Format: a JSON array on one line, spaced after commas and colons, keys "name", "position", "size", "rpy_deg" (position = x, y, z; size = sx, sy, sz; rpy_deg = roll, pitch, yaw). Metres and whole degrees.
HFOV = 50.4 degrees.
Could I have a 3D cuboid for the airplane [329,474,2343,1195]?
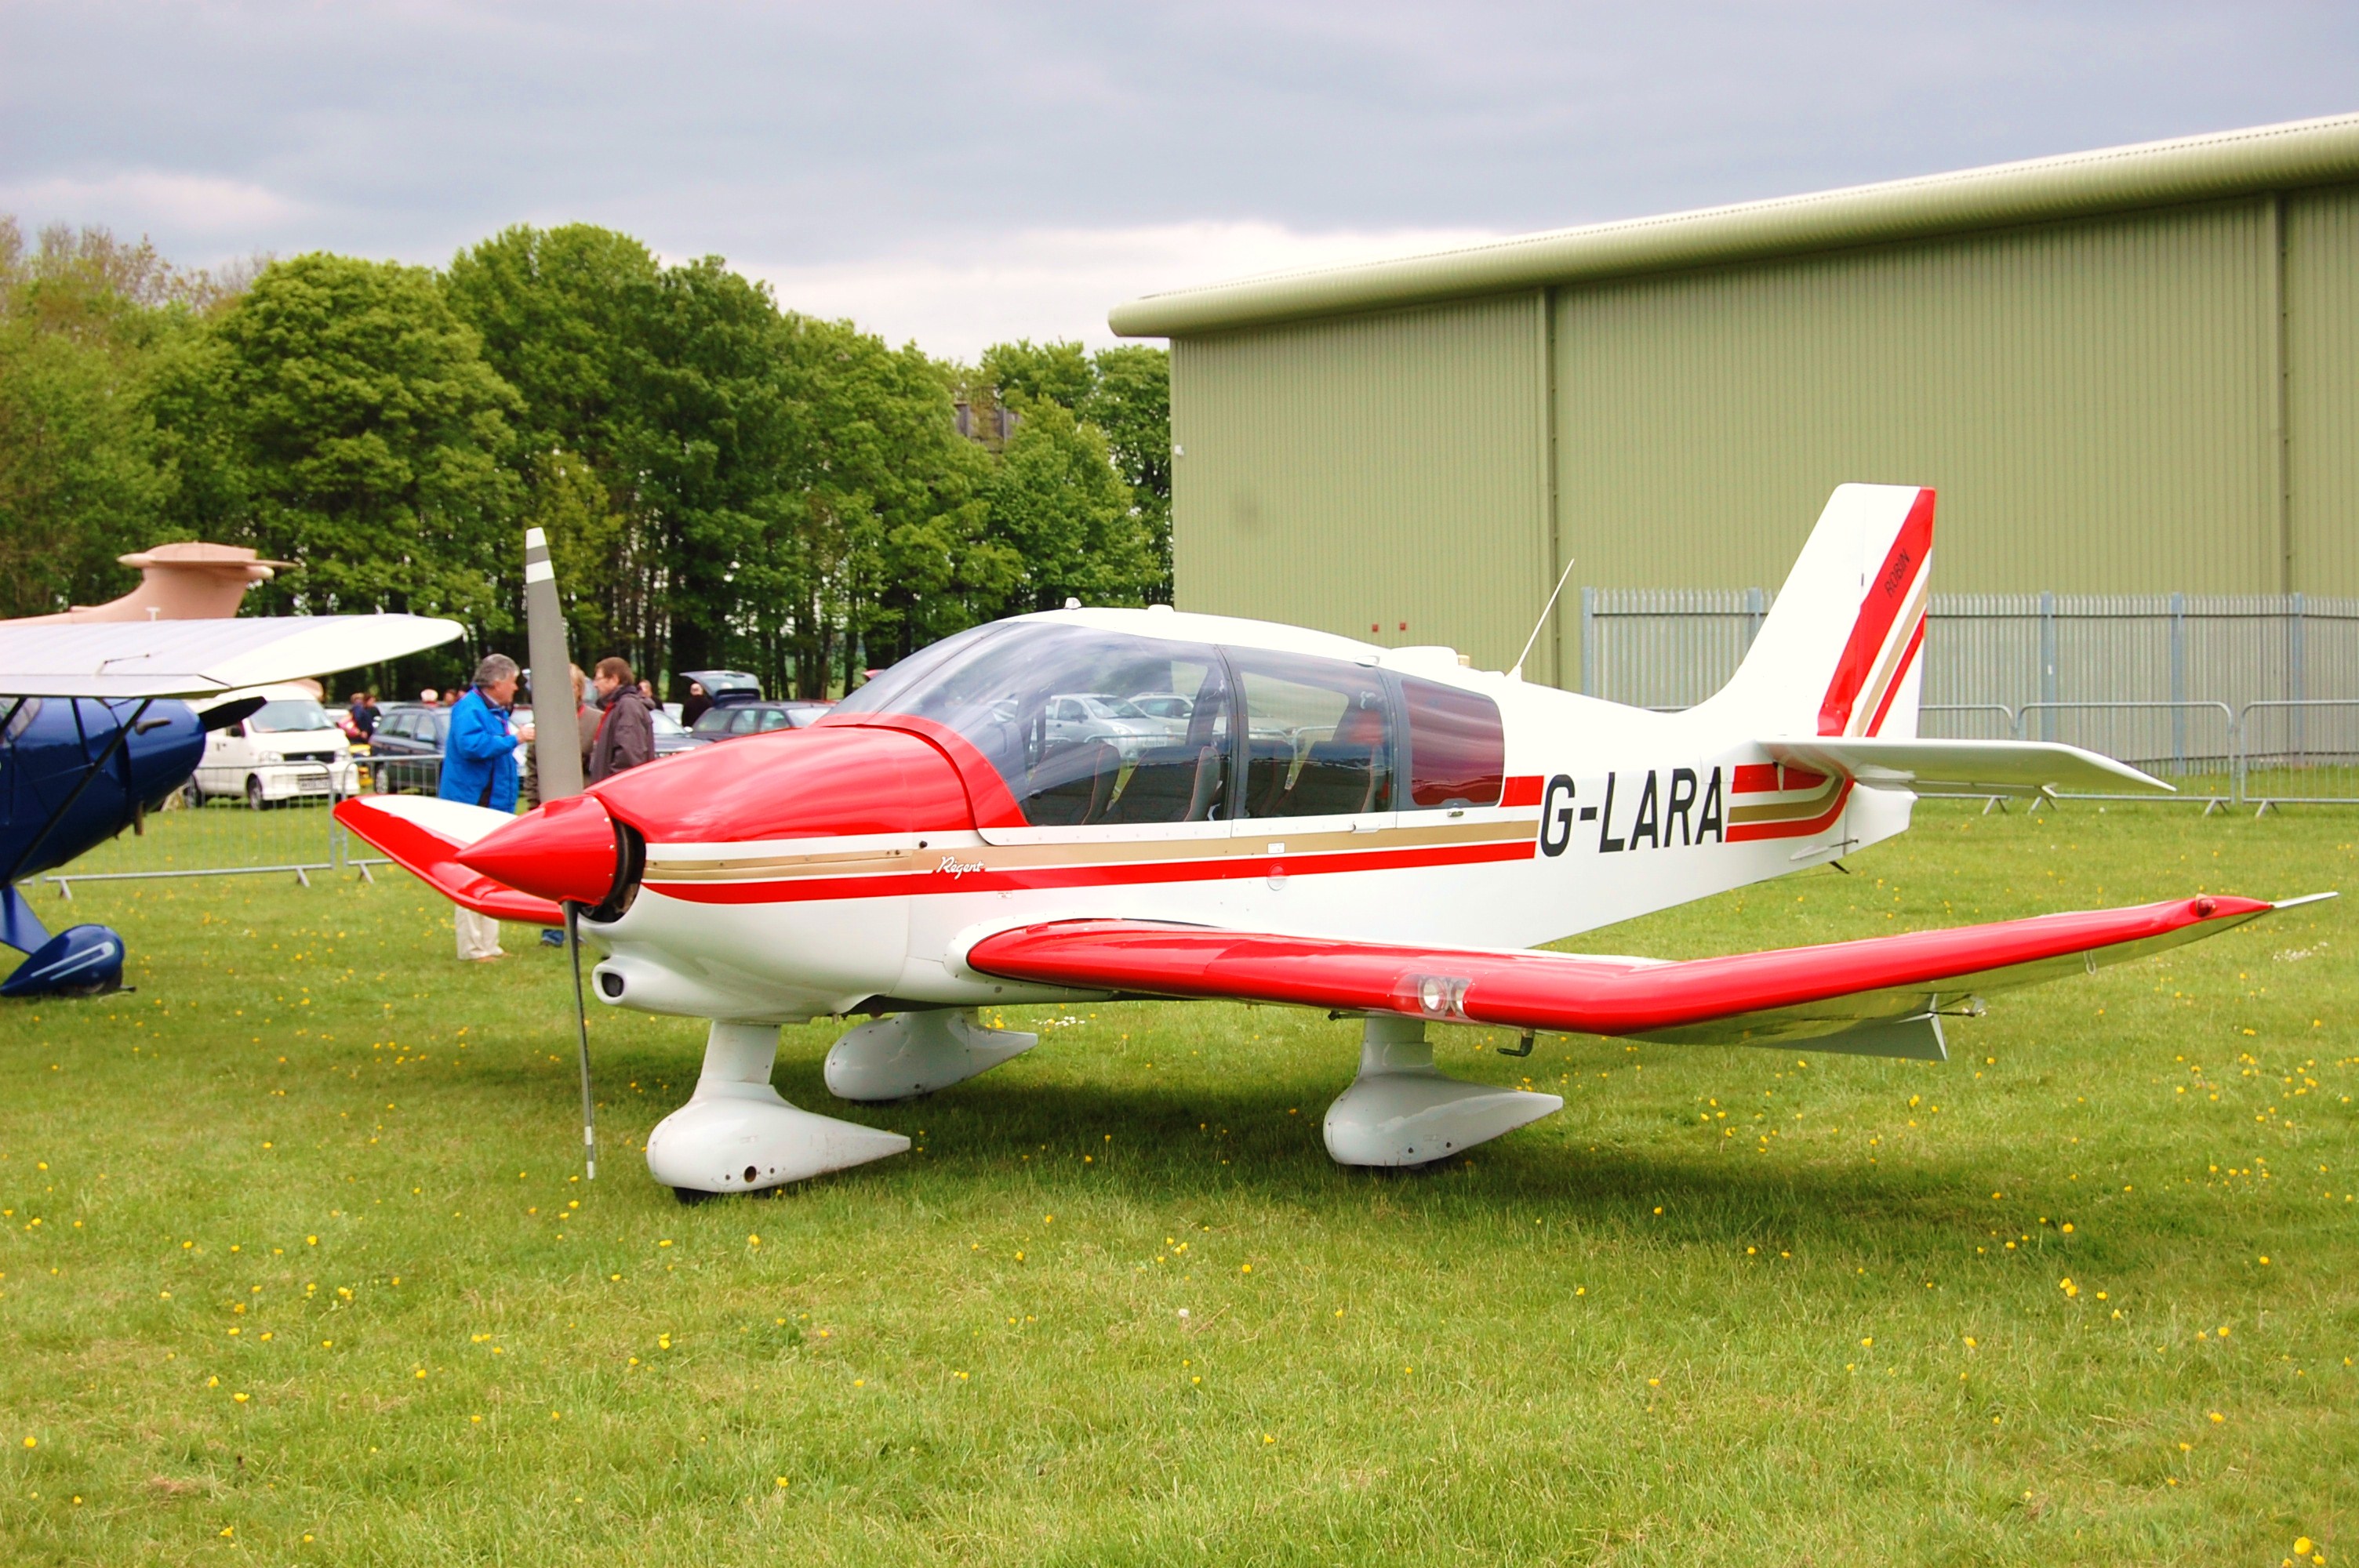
[{"name": "airplane", "position": [0.430, 0.141, 11.178], "size": [6.961, 3.102, 3.577], "rpy_deg": [-1, 4, -13]}]
